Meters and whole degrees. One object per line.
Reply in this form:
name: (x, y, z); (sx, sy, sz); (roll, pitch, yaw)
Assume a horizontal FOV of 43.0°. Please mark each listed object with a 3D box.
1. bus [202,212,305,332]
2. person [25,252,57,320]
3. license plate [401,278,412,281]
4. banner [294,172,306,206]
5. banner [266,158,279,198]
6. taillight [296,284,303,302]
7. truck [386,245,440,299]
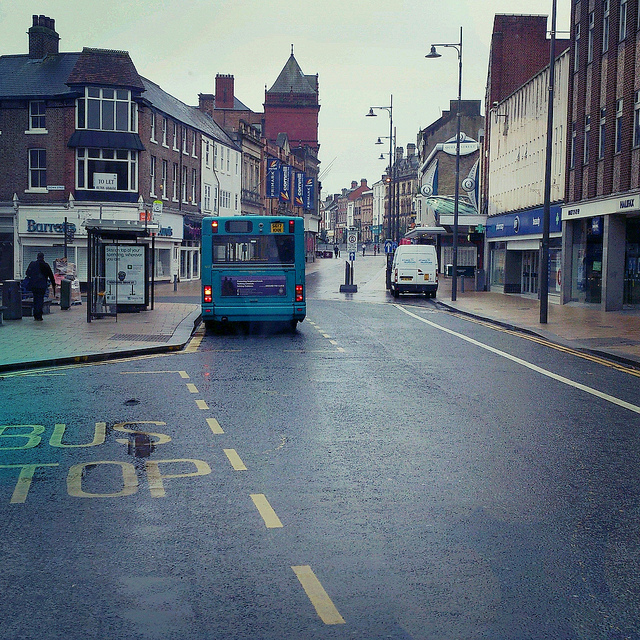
bus: (-1.495, -1.142, 19.950); (1.445, 1.997, 2.894); (0, -4, -2)
person: (-7.503, -0.907, 21.788); (0.742, 1.754, 2.095); (-1, 4, -20)
license plate: (3.822, -1.791, 35.515); (0.443, 0.115, 0.069); (1, 3, -1)
banner: (-1.875, -12.776, 79.222); (1.126, 3.170, 2.021); (0, 4, -2)
banner: (-4.394, -13.299, 75.982); (1.186, 3.618, 2.212); (0, 4, -6)
taillight: (-0.469, -0.643, 19.231); (0.160, 0.421, 0.164); (0, 3, -7)
truck: (4.287, -1.952, 37.566); (1.609, 2.508, 4.285); (2, -5, 0)
